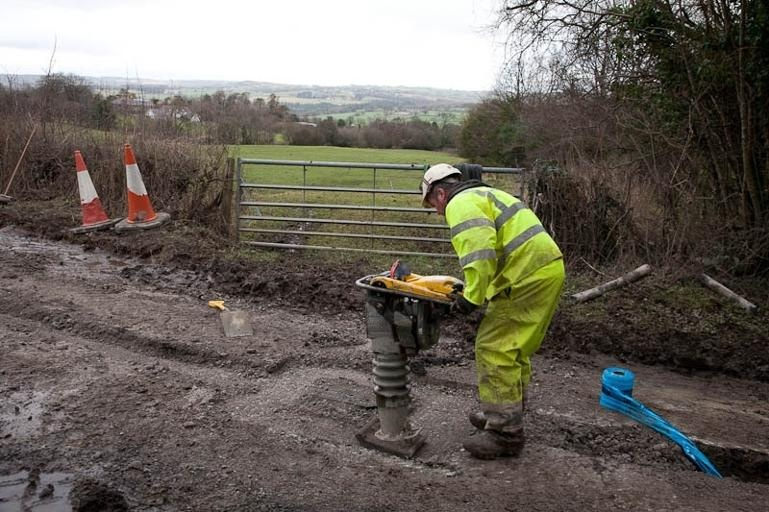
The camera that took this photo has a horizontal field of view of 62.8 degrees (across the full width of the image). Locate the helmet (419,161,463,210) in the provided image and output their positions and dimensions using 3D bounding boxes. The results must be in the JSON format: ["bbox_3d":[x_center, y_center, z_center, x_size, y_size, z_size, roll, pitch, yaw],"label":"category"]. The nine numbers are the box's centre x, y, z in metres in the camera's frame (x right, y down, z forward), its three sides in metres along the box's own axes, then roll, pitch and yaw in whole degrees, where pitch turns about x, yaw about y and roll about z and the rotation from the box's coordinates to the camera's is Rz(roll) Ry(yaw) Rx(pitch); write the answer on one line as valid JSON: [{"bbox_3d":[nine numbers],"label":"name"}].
[{"bbox_3d":[0.773,-0.886,7.540,0.346,0.417,0.425,-6,3,-21],"label":"helmet"}]

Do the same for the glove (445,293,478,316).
[{"bbox_3d":[0.863,0.568,7.137,0.219,0.114,0.294,7,10,-15],"label":"glove"}]

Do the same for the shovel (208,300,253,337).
[{"bbox_3d":[-2.382,0.946,9.663,0.477,0.204,0.965,-6,39,-39],"label":"shovel"}]
